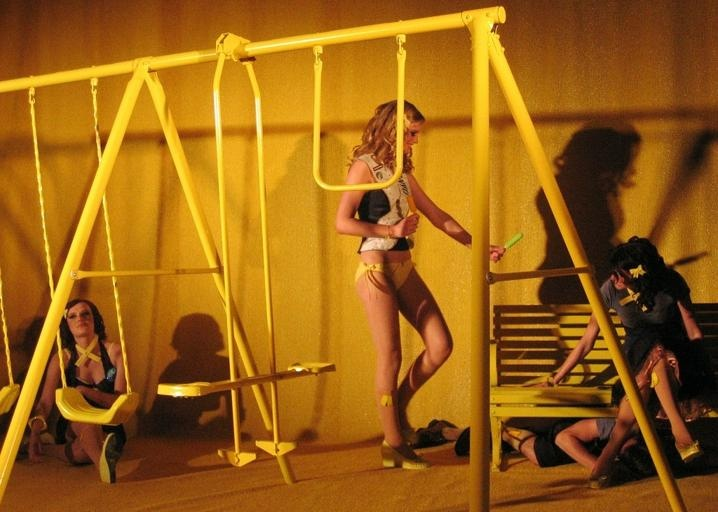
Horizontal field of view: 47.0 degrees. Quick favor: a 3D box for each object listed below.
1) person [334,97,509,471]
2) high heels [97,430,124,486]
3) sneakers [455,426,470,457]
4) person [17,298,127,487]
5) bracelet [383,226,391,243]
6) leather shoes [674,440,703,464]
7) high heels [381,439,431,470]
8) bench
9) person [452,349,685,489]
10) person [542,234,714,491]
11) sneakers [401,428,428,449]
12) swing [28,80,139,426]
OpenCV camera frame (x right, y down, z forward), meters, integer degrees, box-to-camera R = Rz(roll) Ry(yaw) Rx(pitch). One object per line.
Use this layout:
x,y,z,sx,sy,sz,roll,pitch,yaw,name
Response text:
0.280,0.167,4.815,0.604,2.103,0.722,7,15,37,person
-1.440,1.154,4.767,0.136,0.266,0.231,-6,12,-19,high heels
0.624,1.098,4.904,0.126,0.164,0.060,0,-6,30,sneakers
-1.695,0.801,4.980,0.607,1.019,1.004,-4,10,-18,person
0.161,-0.134,4.552,0.057,0.057,0.063,-1,-5,-1,bracelet
1.815,1.070,4.503,0.162,0.052,0.122,-21,36,14,leather shoes
0.279,1.175,4.840,0.266,0.140,0.136,-2,-5,9,high heels
1.426,0.739,4.699,1.065,0.633,0.403,-1,-5,3,bench
1.315,0.878,4.643,1.008,0.716,0.421,1,12,11,person
1.718,0.540,4.775,1.019,0.958,1.293,-8,32,33,person
0.346,1.118,5.044,0.158,0.144,0.055,-2,1,7,sneakers
-1.534,0.018,4.624,0.443,1.997,1.860,-6,12,-20,swing
